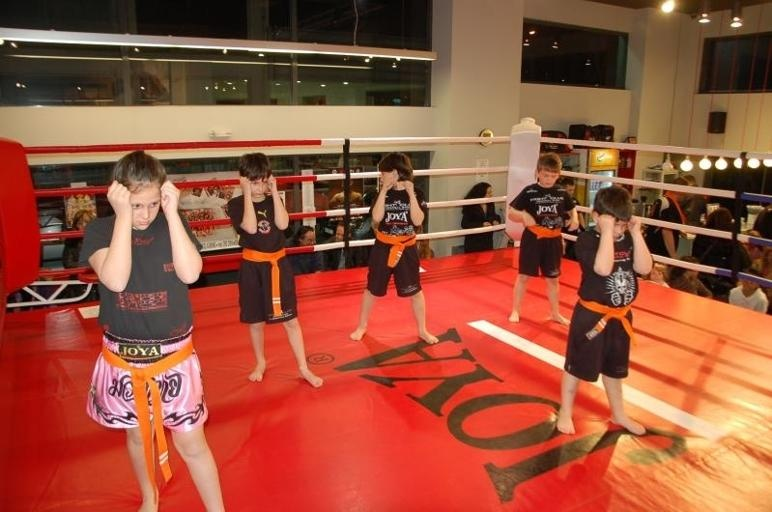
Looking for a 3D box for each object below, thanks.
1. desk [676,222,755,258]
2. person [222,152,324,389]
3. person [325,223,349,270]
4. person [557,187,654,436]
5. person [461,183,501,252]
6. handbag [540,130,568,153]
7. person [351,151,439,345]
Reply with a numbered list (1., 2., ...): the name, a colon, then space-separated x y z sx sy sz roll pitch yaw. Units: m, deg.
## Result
1. desk: 4.001 -0.195 6.323 0.590 0.413 0.316 -3 5 -30
2. person: -0.801 0.086 3.686 0.621 1.590 0.480 2 18 13
3. person: -0.548 -0.066 6.020 0.354 0.755 0.208 -3 44 -10
4. person: 1.422 0.338 3.311 0.529 1.500 0.683 5 19 22
5. person: 1.343 -0.529 7.524 0.529 0.920 1.190 2 18 11
6. handbag: 2.808 -1.870 8.638 0.477 0.372 1.259 4 19 17
7. person: 0.082 -0.051 4.200 0.635 1.479 0.407 2 4 5
